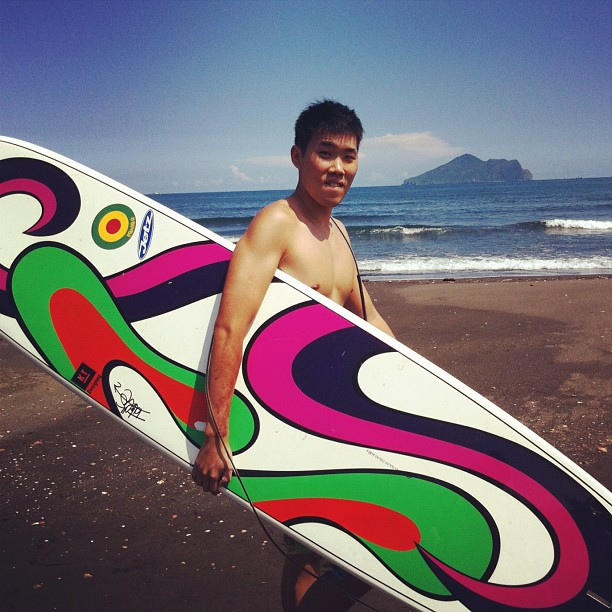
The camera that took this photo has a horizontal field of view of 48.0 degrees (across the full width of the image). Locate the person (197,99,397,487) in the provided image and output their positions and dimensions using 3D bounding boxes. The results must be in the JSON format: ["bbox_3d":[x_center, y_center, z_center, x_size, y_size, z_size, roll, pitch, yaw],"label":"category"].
[{"bbox_3d":[0.023,-0.078,2.445,0.367,1.276,0.881,8,11,26],"label":"person"}]

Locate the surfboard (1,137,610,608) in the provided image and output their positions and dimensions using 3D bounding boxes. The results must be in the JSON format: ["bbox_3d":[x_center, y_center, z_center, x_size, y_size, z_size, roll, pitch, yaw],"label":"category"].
[{"bbox_3d":[-0.078,0.241,2.489,2.303,1.601,0.468,6,11,21],"label":"surfboard"}]
